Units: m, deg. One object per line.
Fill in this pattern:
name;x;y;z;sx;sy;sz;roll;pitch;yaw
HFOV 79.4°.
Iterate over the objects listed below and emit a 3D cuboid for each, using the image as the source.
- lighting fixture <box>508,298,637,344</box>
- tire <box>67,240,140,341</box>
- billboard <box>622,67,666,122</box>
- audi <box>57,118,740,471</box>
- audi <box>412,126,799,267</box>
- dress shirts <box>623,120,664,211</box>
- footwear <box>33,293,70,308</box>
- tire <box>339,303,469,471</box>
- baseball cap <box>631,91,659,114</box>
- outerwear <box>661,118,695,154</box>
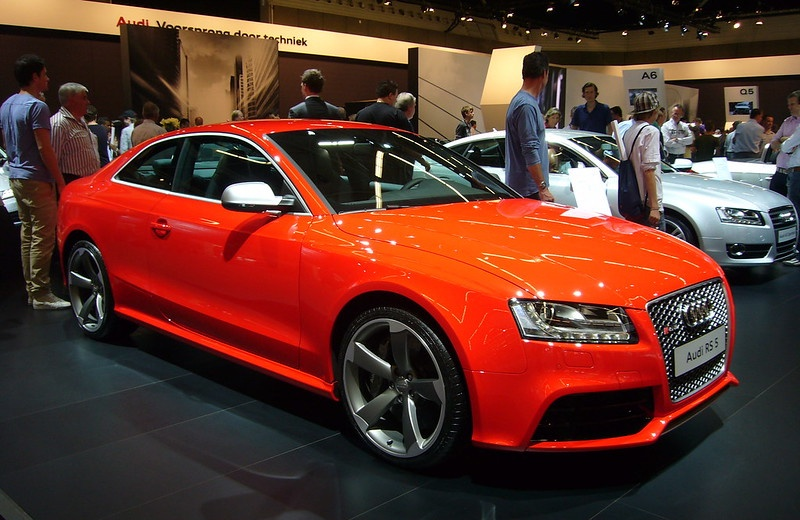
lighting fixture;0.807;0.285;2.212;0.592;0.166;0.094;1;16;-3
tire;-2.541;0.234;4.148;0.866;0.883;0.296;-2;4;37
billboard;5.587;-3.708;11.081;0.938;1.236;0.156;-3;0;-1
audi;-0.472;0.123;3.340;4.347;1.405;2.023;8;13;36
audi;2.420;-0.956;6.526;4.450;1.376;1.942;4;10;29
dress shirts;2.359;-0.922;4.695;0.186;0.781;0.445;-11;18;-19
footwear;-3.565;0.434;4.957;0.386;0.167;0.162;0;6;-11
tire;0.040;0.677;2.649;0.828;0.842;0.266;10;7;42
baseball cap;2.385;-1.502;4.644;0.188;0.128;0.248;0;20;26
outerwear;5.849;-2.563;10.186;0.644;0.716;0.423;-1;16;2
